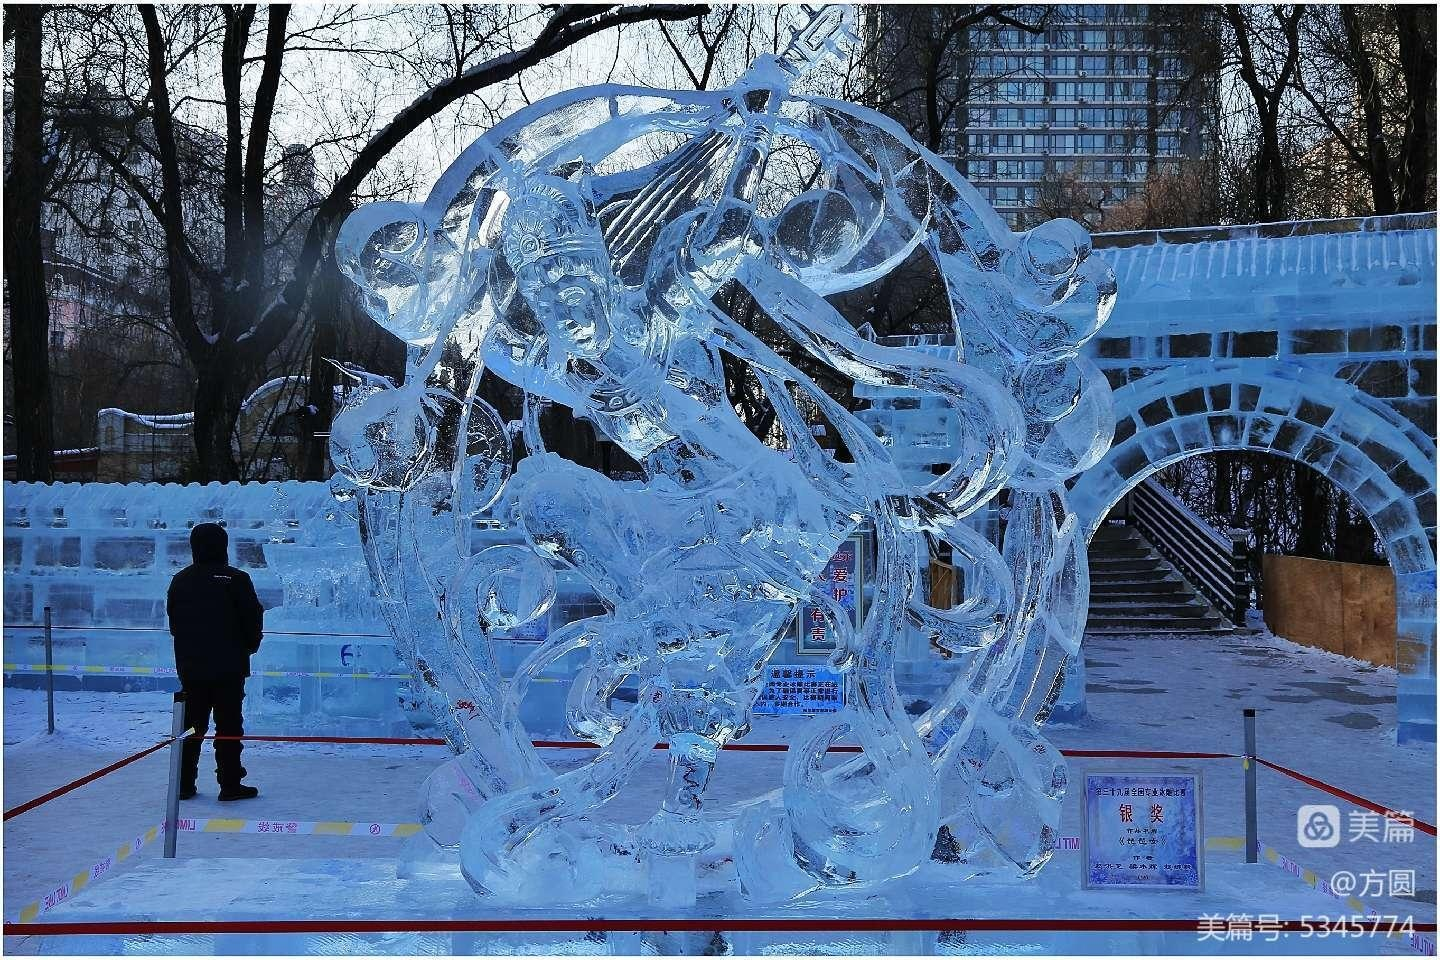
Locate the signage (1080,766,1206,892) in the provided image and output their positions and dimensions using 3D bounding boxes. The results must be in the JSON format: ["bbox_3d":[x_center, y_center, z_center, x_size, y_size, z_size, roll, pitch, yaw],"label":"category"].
[{"bbox_3d":[3.081,2.516,12.923,0.912,0.882,0.094,0,0,2],"label":"signage"}]

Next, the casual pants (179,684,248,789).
[{"bbox_3d":[-4.277,2.135,14.866,0.519,0.959,0.773,-2,4,-16],"label":"casual pants"}]

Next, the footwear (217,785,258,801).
[{"bbox_3d":[-4.086,2.605,14.971,0.331,0.138,0.131,-1,1,-15],"label":"footwear"}]
